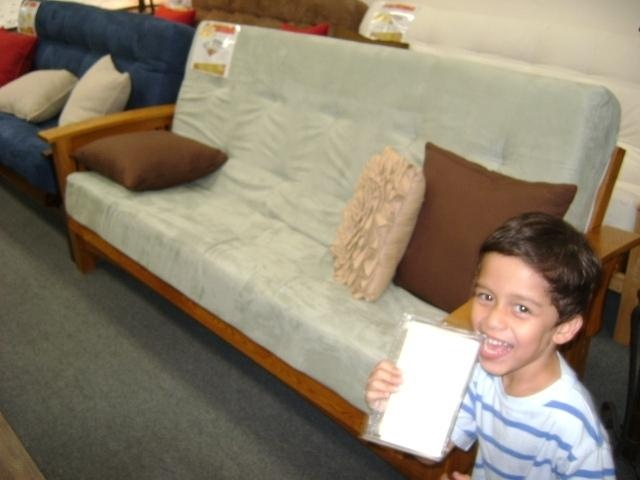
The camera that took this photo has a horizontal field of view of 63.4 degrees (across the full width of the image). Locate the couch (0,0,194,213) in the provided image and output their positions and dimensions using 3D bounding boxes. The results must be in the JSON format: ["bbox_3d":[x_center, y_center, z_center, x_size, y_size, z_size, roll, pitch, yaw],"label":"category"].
[{"bbox_3d":[-1.081,-0.626,2.498,1.112,0.578,0.584,27,35,32],"label":"couch"}]

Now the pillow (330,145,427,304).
[{"bbox_3d":[0.231,-0.023,1.586,0.122,0.405,0.386,15,14,-29],"label":"pillow"}]

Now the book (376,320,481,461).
[{"bbox_3d":[0.194,0.278,0.978,0.153,0.224,0.126,17,22,19],"label":"book"}]
